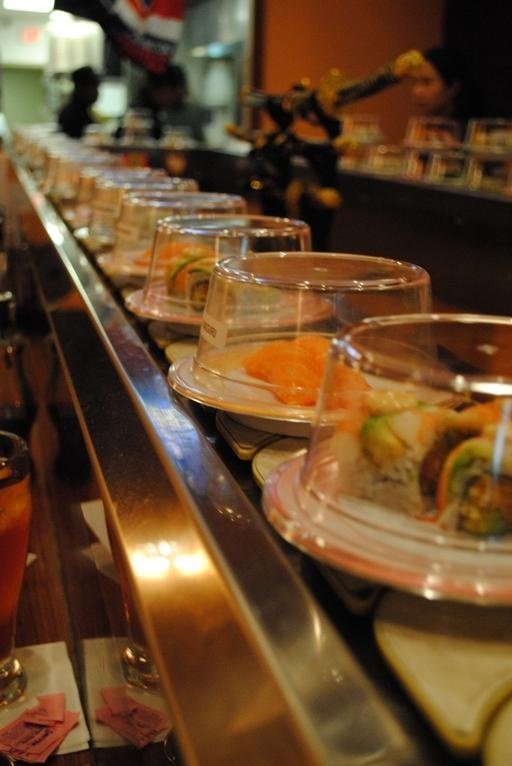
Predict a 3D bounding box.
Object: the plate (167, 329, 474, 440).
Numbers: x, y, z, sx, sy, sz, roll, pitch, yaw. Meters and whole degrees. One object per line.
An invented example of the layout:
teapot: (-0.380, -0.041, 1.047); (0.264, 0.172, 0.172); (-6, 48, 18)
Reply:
plate: (0.028, 0.011, 0.491); (0.160, 0.029, 0.158); (19, -14, -11)
